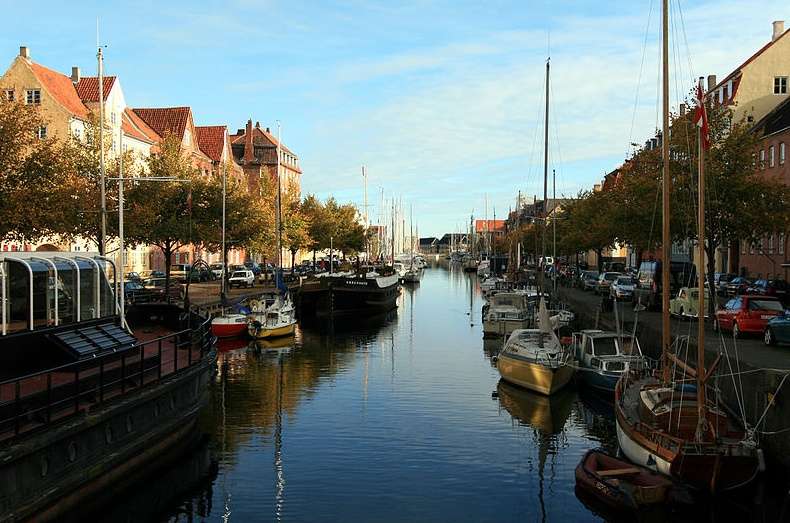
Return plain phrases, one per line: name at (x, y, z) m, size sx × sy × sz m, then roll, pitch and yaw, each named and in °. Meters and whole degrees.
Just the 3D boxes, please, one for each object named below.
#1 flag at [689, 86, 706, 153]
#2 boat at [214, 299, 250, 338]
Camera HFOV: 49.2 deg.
flag at (10.445, -4.897, 29.859) m, size 0.399 × 2.694 × 0.301 m, roll -4°, pitch 34°, yaw 17°
boat at (-9.777, 3.549, 51.845) m, size 1.064 × 1.530 × 3.433 m, roll 9°, pitch 11°, yaw 27°
